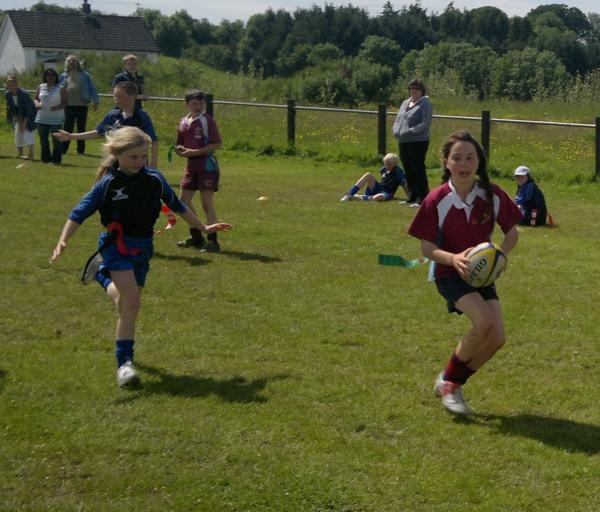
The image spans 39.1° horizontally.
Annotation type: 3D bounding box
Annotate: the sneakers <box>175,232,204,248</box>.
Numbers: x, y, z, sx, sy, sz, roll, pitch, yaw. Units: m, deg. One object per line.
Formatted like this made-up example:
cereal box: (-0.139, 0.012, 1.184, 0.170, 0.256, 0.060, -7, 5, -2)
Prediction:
sneakers: (-1.274, -0.182, 9.663, 0.325, 0.235, 0.128, 6, -2, -6)

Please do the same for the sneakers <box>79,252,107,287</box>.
sneakers: (-1.678, 0.121, 6.747, 0.143, 0.338, 0.121, 29, 3, 4)

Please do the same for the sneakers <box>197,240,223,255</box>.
sneakers: (-1.027, -0.100, 9.430, 0.267, 0.184, 0.099, 5, -5, -11)

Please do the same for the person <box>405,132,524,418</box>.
person: (1.115, 0.096, 5.797, 0.733, 1.869, 0.597, 4, 10, 15)

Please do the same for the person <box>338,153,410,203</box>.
person: (1.169, -1.210, 13.528, 1.069, 0.676, 0.715, -14, 21, -36)

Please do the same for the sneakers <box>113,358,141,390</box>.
sneakers: (-1.244, 0.834, 5.965, 0.188, 0.162, 0.168, 2, 10, 1)

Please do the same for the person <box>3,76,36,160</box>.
person: (-5.259, -2.569, 15.751, 0.540, 1.506, 0.810, -2, 11, -19)

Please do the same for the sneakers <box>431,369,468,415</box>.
sneakers: (1.038, 0.949, 5.795, 0.117, 0.140, 0.332, 15, 17, -35)

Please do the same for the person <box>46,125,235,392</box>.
person: (-1.310, -0.039, 6.148, 0.713, 1.793, 0.834, 3, 10, 8)
